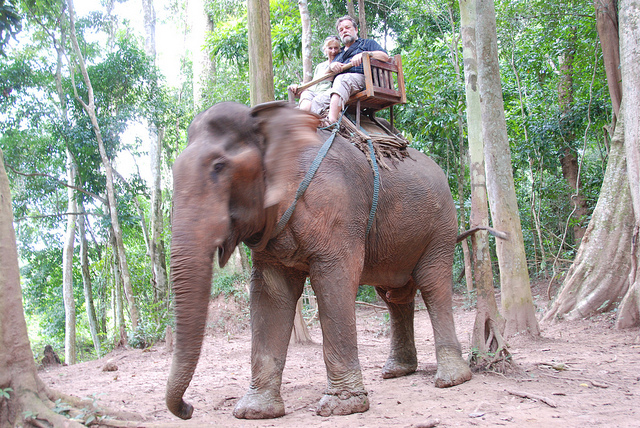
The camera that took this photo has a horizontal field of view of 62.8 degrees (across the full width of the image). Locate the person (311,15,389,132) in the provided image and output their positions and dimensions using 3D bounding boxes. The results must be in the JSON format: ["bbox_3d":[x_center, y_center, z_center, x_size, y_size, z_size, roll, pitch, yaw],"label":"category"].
[{"bbox_3d":[0.316,-1.854,6.900,0.830,1.647,0.740,5,-7,-23],"label":"person"}]

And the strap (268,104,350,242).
[{"bbox_3d":[-0.143,-0.398,5.890,0.190,1.852,0.105,34,-14,-14],"label":"strap"}]

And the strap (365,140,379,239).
[{"bbox_3d":[0.640,-0.263,6.325,0.162,1.088,0.114,2,-7,-20],"label":"strap"}]
